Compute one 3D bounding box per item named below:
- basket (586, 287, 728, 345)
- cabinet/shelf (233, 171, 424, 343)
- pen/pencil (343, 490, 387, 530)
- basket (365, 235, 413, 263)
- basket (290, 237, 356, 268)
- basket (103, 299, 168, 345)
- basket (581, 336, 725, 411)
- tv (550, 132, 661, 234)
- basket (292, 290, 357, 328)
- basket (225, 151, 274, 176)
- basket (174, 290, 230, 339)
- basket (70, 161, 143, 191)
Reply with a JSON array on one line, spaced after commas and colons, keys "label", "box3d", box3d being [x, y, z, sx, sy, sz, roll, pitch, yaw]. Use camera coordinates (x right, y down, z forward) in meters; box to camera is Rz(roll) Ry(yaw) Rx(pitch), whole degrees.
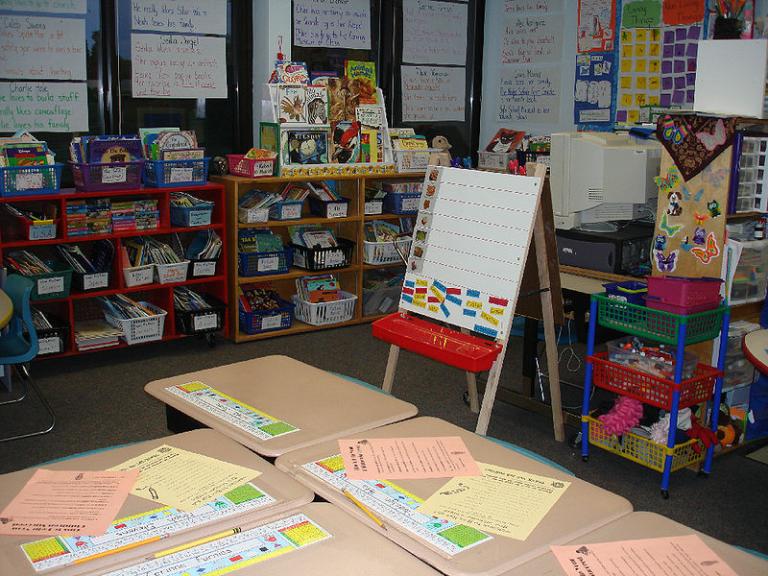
[{"label": "basket", "box3d": [1.365, 0.090, 2.870, 0.291, 0.134, 0.415, -9, 14, -39]}, {"label": "cabinet/shelf", "box3d": [-0.551, -0.265, 4.771, 1.428, 1.035, 0.422, -7, 12, -33]}, {"label": "pen/pencil", "box3d": [-0.043, 0.488, 1.234, 0.027, 0.011, 0.147, -14, 16, -19]}, {"label": "basket", "box3d": [0.040, -0.366, 5.211, 0.349, 0.143, 0.229, -8, 13, -40]}, {"label": "basket", "box3d": [-0.532, -0.329, 5.041, 0.381, 0.162, 0.272, -4, 11, -34]}, {"label": "basket", "box3d": [-1.902, 0.206, 4.313, 0.330, 0.201, 0.464, -16, 23, -40]}, {"label": "basket", "box3d": [1.379, 0.442, 2.958, 0.342, 0.178, 0.512, -12, 14, -36]}, {"label": "tv", "box3d": [1.389, -0.674, 3.613, 0.653, 0.589, 0.239, 7, 14, 23]}, {"label": "basket", "box3d": [-0.520, 0.168, 5.124, 0.429, 0.183, 0.309, -5, 12, -38]}, {"label": "basket", "box3d": [-1.121, -1.031, 4.691, 0.201, 0.123, 0.299, -8, 13, -44]}, {"label": "basket", "box3d": [-1.496, 0.211, 4.546, 0.291, 0.198, 0.447, -8, 16, -34]}, {"label": "basket", "box3d": [-2.007, -0.811, 4.147, 0.356, 0.136, 0.243, -5, 11, -39]}]
